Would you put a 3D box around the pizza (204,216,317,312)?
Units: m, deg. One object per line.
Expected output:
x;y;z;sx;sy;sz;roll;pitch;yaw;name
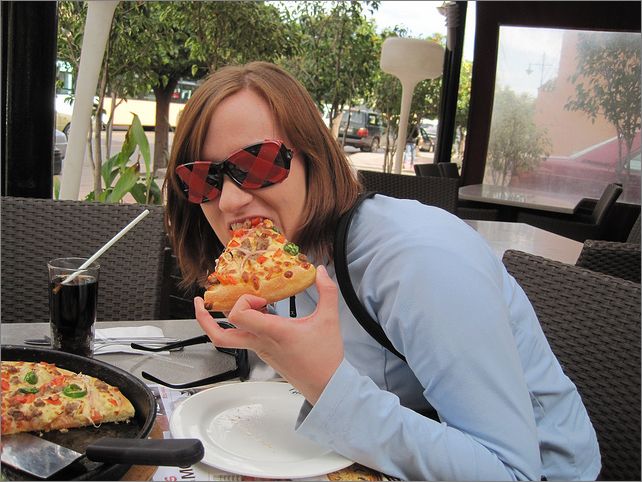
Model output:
-0.150;0.061;1.258;0.273;0.083;0.299;-1;39;4;pizza

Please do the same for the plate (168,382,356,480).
-0.160;0.425;1.069;0.334;0.054;0.371;1;10;-27;plate

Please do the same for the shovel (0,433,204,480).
-0.398;0.390;0.851;0.377;0.022;0.112;-4;16;15;shovel

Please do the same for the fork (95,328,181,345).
-0.600;0.302;1.514;0.335;0.018;0.088;0;23;2;fork

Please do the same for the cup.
-0.705;0.198;1.357;0.122;0.264;0.216;-1;11;-30;cup
